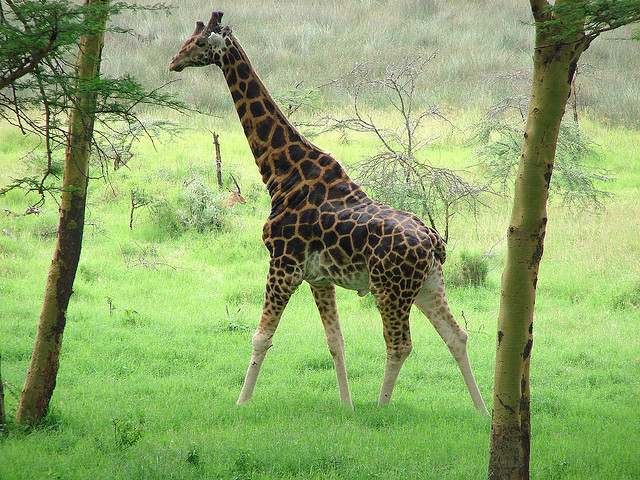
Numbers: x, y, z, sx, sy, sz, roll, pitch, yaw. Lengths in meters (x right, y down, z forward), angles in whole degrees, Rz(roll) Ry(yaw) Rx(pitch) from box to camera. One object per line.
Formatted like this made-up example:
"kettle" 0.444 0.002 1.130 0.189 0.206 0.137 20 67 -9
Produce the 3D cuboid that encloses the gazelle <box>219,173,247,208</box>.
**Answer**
"gazelle" -2.691 -1.311 30.981 0.564 0.809 0.481 -9 8 -7
